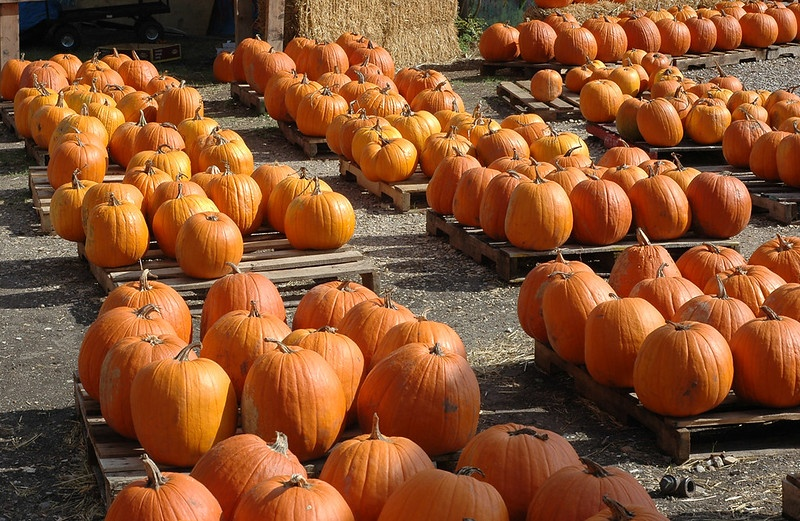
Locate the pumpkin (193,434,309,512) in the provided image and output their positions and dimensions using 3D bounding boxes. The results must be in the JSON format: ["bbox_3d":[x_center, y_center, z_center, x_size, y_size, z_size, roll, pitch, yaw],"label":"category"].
[{"bbox_3d":[-0.779,1.027,3.773,0.430,0.418,0.428,12,-1,-35],"label":"pumpkin"}]

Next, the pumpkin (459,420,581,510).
[{"bbox_3d":[0.641,1.031,3.785,0.448,0.440,0.457,-3,6,-13],"label":"pumpkin"}]
